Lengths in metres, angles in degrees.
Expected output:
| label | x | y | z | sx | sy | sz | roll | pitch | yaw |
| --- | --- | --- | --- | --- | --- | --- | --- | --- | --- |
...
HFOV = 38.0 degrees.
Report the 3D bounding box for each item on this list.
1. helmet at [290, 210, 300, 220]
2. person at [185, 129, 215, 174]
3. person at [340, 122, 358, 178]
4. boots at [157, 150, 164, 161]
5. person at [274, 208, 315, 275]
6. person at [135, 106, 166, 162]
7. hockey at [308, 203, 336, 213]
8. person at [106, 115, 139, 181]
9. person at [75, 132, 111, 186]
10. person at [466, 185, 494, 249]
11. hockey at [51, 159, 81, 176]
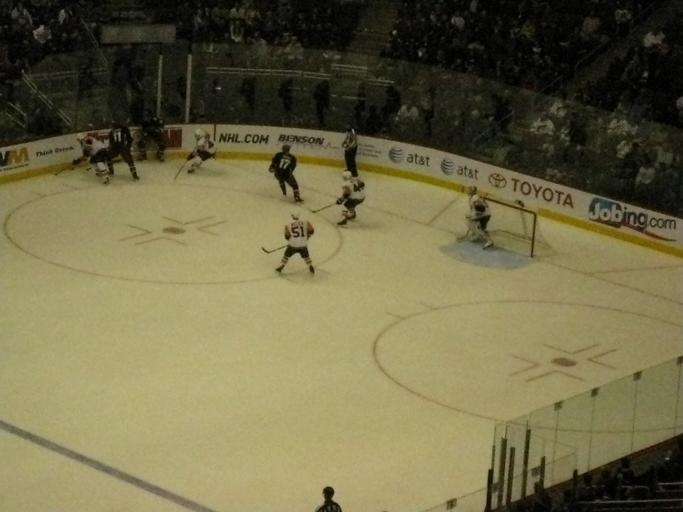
| label | x | y | z | sx | sy | sz | roll | pitch | yaw |
| --- | --- | --- | --- | --- | --- | --- | --- | --- | --- |
| helmet | -1.086 | -0.978 | 23.925 | 0.237 | 0.209 | 0.180 | -24 | 28 | -24 |
| person | -4.439 | -3.282 | 31.202 | 0.954 | 1.407 | 0.693 | 13 | 48 | -6 |
| person | 0.318 | -3.332 | 31.247 | 0.642 | 1.575 | 1.101 | 8 | 26 | -2 |
| boots | -5.793 | -3.205 | 31.555 | 0.322 | 0.279 | 0.283 | -10 | 23 | -37 |
| person | -1.044 | -0.344 | 24.495 | 0.984 | 1.766 | 1.128 | 9 | 26 | -1 |
| person | -6.037 | -3.701 | 31.447 | 0.870 | 1.294 | 0.691 | 3 | 27 | -12 |
| hockey | -0.588 | -1.370 | 28.688 | 0.831 | 0.090 | 0.112 | -19 | 49 | -44 |
| person | -6.618 | -3.231 | 29.948 | 0.954 | 1.489 | 1.854 | 2 | 26 | -13 |
| person | -7.287 | -2.953 | 29.418 | 1.519 | 1.306 | 0.834 | 26 | 31 | 34 |
| person | 3.835 | -1.073 | 26.913 | 0.899 | 1.517 | 0.924 | 6 | 26 | -6 |
| hockey | -8.391 | -2.667 | 29.876 | 0.203 | 0.095 | 0.892 | 28 | 42 | 30 |
